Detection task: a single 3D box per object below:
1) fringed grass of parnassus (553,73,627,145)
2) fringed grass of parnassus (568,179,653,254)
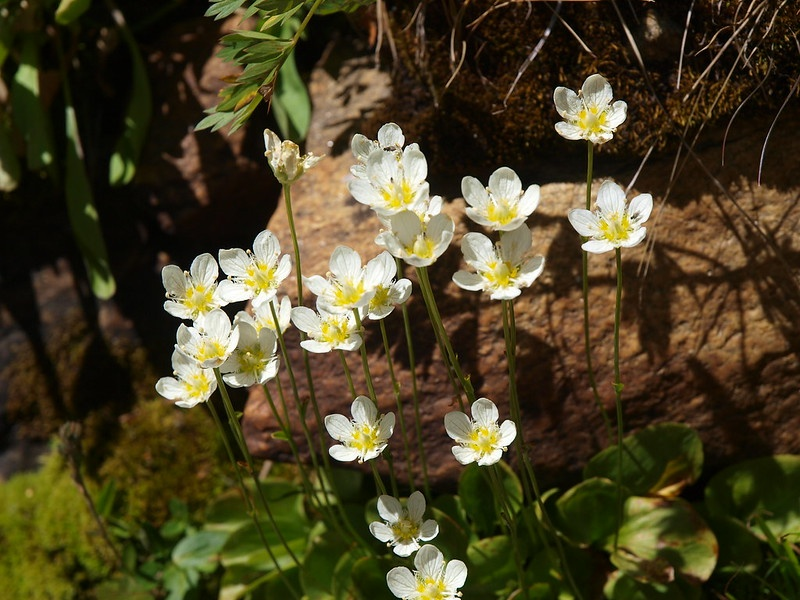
[{"bbox_3d":[0.633,-0.613,2.591,0.228,0.227,0.112,-24,-7,-6],"label":"fringed grass of parnassus"},{"bbox_3d":[0.712,-0.250,2.580,0.237,0.108,0.262,-6,60,6],"label":"fringed grass of parnassus"}]
